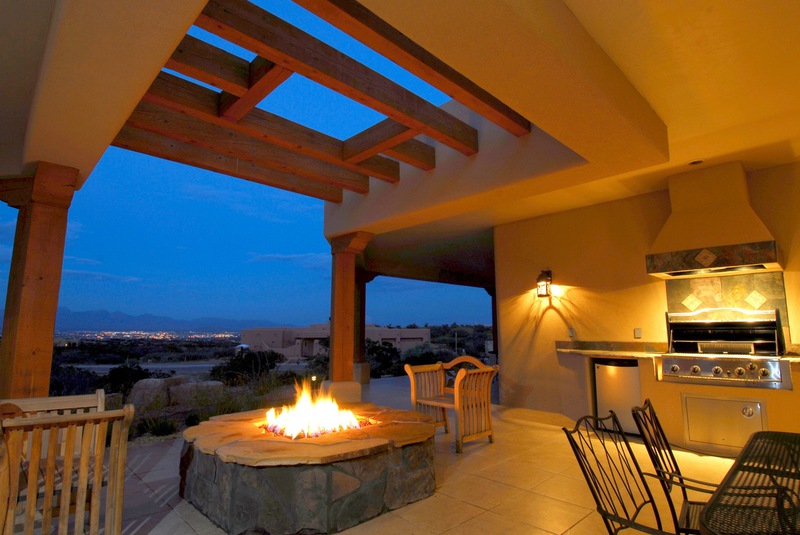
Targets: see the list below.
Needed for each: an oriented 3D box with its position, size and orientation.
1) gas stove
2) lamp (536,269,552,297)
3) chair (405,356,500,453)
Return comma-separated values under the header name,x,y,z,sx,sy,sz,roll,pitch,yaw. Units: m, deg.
name,x,y,z,sx,sy,sz,roll,pitch,yaw
gas stove,3.606,1.127,5.458,1.656,0.344,1.262,-9,-11,44
lamp,2.145,0.236,7.251,0.210,0.419,0.230,2,2,36
chair,0.628,1.643,6.027,0.625,1.047,1.051,5,-9,-39
